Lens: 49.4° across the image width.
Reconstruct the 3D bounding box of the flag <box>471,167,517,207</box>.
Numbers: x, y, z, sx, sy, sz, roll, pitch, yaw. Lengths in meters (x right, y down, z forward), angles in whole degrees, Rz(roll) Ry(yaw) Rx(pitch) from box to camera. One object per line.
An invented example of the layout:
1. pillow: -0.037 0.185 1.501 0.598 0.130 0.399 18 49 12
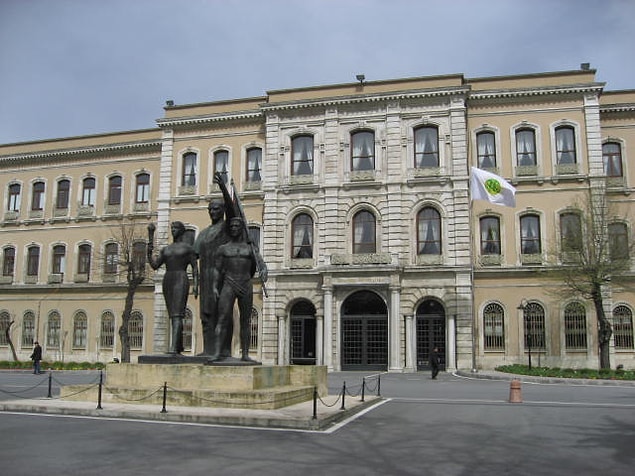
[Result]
1. flag: 9.681 -2.801 38.191 2.529 2.215 0.281 -1 8 -5
